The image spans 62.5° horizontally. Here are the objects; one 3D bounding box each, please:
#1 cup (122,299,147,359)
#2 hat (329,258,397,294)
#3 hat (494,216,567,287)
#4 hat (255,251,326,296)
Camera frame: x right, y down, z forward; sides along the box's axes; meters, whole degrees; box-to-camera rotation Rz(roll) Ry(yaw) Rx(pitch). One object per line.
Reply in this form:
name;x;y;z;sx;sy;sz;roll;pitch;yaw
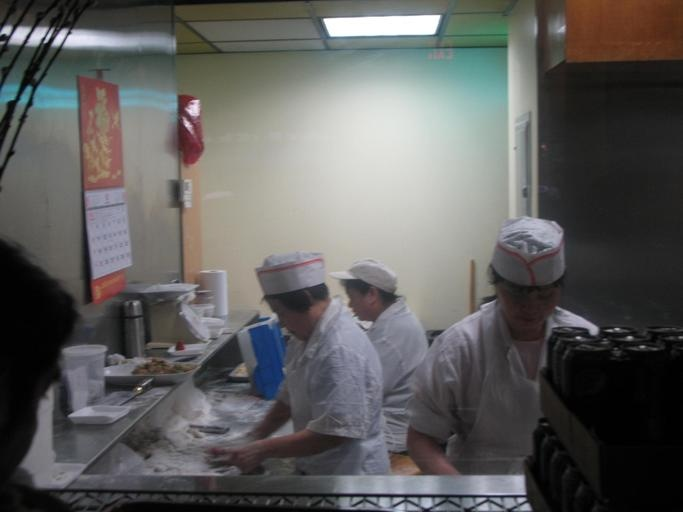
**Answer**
cup;-0.637;0.219;1.724;0.051;0.176;0.057;4;15;31
hat;0.071;0.054;1.477;0.133;0.051;0.083;8;-5;2
hat;0.502;-0.012;1.460;0.181;0.107;0.174;-24;33;-37
hat;-0.127;0.041;1.484;0.148;0.072;0.115;-8;-3;-8
